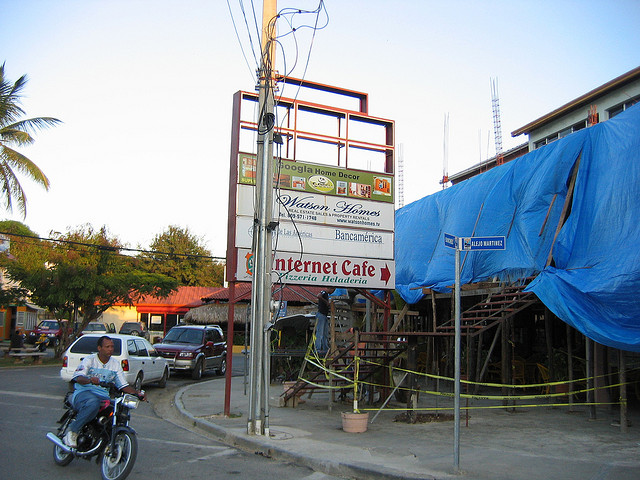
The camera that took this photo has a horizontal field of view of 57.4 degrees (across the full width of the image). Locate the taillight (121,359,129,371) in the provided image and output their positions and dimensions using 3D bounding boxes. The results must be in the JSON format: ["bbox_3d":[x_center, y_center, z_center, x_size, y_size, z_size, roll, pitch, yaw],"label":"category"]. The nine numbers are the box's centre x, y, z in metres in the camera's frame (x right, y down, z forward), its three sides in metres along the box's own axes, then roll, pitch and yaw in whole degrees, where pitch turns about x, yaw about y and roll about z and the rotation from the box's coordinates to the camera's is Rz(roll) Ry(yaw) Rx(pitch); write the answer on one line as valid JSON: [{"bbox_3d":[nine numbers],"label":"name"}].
[{"bbox_3d":[-5.933,3.816,17.775,0.192,0.340,0.468,3,-10,-13],"label":"taillight"}]

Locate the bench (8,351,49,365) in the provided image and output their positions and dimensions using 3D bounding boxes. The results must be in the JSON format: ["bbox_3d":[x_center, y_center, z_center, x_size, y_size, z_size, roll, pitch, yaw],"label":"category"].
[{"bbox_3d":[-13.618,5.566,27.471,1.308,0.525,2.301,5,-11,-24],"label":"bench"}]

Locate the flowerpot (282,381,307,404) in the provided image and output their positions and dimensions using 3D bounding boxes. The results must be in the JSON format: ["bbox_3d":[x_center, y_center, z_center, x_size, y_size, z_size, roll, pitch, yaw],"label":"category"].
[{"bbox_3d":[-0.816,4.566,17.988,0.701,0.878,0.923,-1,-9,6],"label":"flowerpot"}]

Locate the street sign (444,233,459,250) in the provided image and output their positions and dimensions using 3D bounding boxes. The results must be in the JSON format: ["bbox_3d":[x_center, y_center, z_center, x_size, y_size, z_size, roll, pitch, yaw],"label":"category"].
[{"bbox_3d":[2.540,0.017,11.252,0.252,0.392,0.632,-1,-10,14],"label":"street sign"}]

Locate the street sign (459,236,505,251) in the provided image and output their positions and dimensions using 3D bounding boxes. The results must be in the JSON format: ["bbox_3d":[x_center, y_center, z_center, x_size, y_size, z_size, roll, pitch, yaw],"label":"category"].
[{"bbox_3d":[3.111,0.061,11.238,0.825,0.280,0.480,-3,-10,18],"label":"street sign"}]

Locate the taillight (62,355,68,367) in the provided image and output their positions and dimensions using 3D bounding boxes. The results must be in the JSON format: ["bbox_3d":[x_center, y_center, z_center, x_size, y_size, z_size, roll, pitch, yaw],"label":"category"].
[{"bbox_3d":[-7.788,3.726,17.943,0.047,0.366,0.449,6,-11,-31],"label":"taillight"}]
